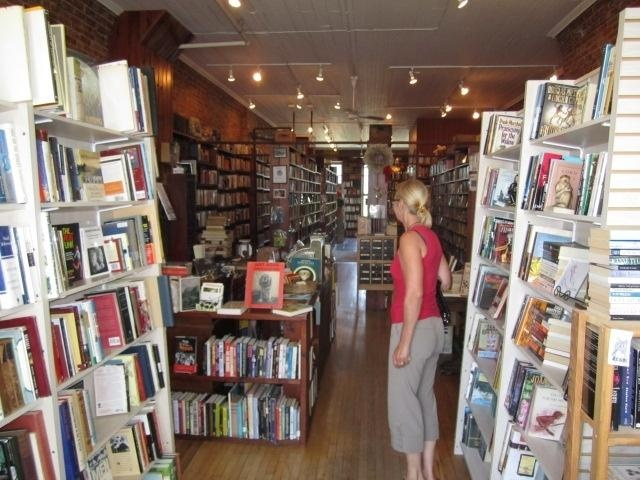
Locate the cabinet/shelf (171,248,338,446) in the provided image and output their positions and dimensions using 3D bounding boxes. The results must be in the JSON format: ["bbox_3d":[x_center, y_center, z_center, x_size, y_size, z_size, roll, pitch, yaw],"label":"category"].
[{"bbox_3d":[-0.613,0.990,4.372,1.205,1.132,1.354,2,11,8],"label":"cabinet/shelf"}]
